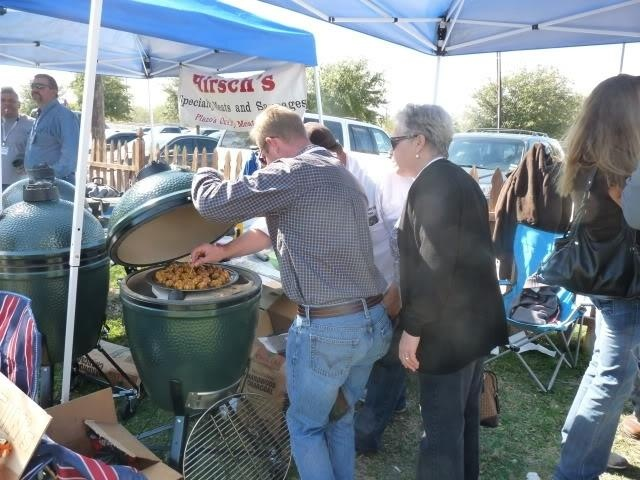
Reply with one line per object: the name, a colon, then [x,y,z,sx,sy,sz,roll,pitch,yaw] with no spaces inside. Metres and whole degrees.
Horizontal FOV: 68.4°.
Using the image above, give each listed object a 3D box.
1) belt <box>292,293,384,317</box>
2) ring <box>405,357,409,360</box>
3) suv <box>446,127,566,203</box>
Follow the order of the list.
belt: [0.127,0.362,2.491,0.465,0.114,0.150,0,12,-13]
ring: [0.459,0.629,2.486,0.009,0.010,0.015,-12,-8,-39]
suv: [2.931,-1.477,7.966,1.646,1.541,3.115,7,13,32]
